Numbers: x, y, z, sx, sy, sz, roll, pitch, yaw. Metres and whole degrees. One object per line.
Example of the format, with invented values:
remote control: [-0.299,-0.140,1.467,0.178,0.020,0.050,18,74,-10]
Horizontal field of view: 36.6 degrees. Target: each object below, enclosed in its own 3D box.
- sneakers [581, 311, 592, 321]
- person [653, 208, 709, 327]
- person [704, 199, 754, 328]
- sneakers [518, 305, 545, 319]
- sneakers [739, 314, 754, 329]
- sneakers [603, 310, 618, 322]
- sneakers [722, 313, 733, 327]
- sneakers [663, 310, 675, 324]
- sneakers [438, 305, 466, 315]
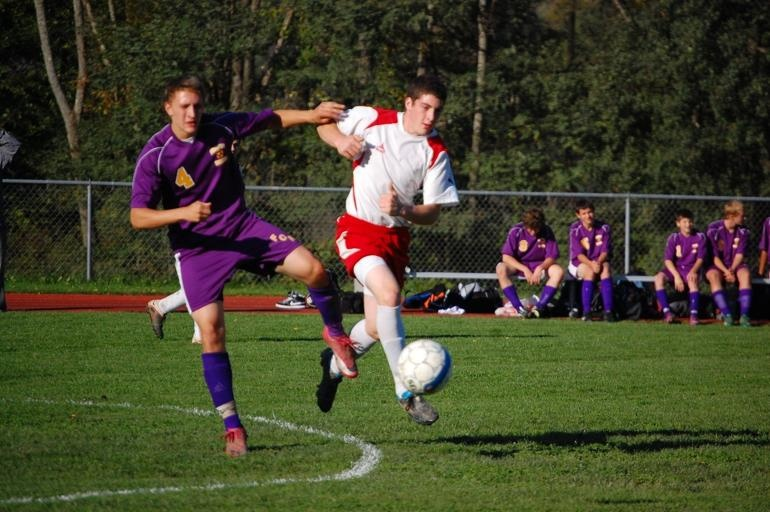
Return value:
sneakers: [3.838,1.133,22.144,0.184,0.158,0.343,2,3,9]
person: [5.634,0.161,22.140,0.934,2.155,0.787,2,3,13]
person: [6.532,0.092,22.088,0.835,2.335,0.861,2,3,14]
sneakers: [2.809,1.082,22.377,0.517,0.235,0.187,-1,-1,-3]
sneakers: [6.778,1.206,21.770,0.158,0.245,0.255,-1,-2,-23]
sneakers: [4.252,1.129,22.048,0.163,0.160,0.379,-2,-11,14]
sneakers: [6.426,1.173,21.852,0.149,0.103,0.242,-2,22,-3]
sneakers: [5.379,1.121,22.025,0.193,0.253,0.343,2,3,14]
sneakers: [1.298,1.054,22.893,0.522,0.205,0.185,3,-4,-3]
